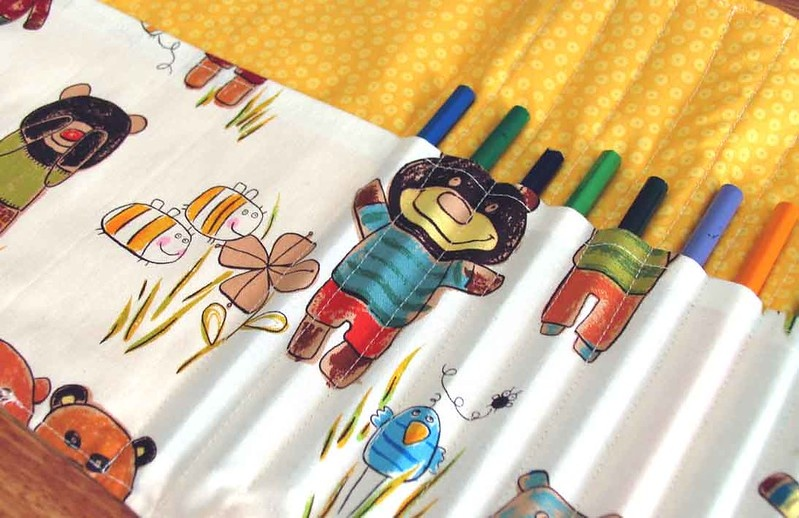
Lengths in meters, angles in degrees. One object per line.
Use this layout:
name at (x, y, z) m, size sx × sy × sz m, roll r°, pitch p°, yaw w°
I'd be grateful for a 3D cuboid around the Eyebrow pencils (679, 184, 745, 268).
Eyebrow pencils at (0.575, -0.053, 1.920) m, size 0.045 × 0.160 × 0.044 m, roll 47°, pitch -16°, yaw -25°
